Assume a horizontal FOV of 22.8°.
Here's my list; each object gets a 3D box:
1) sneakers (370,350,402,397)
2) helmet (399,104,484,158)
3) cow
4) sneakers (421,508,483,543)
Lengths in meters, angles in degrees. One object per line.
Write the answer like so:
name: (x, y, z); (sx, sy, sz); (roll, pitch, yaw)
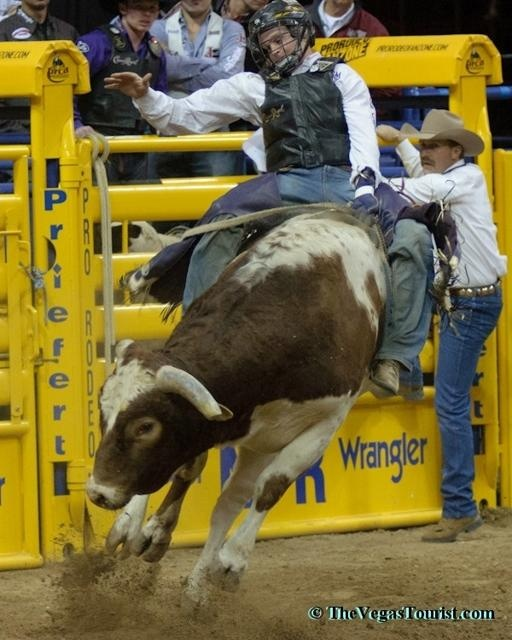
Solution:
sneakers: (0.592, 0.262, 5.741); (0.143, 0.063, 0.174); (3, 22, 0)
helmet: (1.035, -0.983, 6.773); (0.315, 0.108, 0.330); (10, -7, 44)
cow: (-0.020, 0.293, 5.331); (0.663, 1.551, 1.425); (6, 8, 33)
sneakers: (1.074, 1.134, 6.951); (0.365, 0.133, 0.118); (-15, 15, -5)
